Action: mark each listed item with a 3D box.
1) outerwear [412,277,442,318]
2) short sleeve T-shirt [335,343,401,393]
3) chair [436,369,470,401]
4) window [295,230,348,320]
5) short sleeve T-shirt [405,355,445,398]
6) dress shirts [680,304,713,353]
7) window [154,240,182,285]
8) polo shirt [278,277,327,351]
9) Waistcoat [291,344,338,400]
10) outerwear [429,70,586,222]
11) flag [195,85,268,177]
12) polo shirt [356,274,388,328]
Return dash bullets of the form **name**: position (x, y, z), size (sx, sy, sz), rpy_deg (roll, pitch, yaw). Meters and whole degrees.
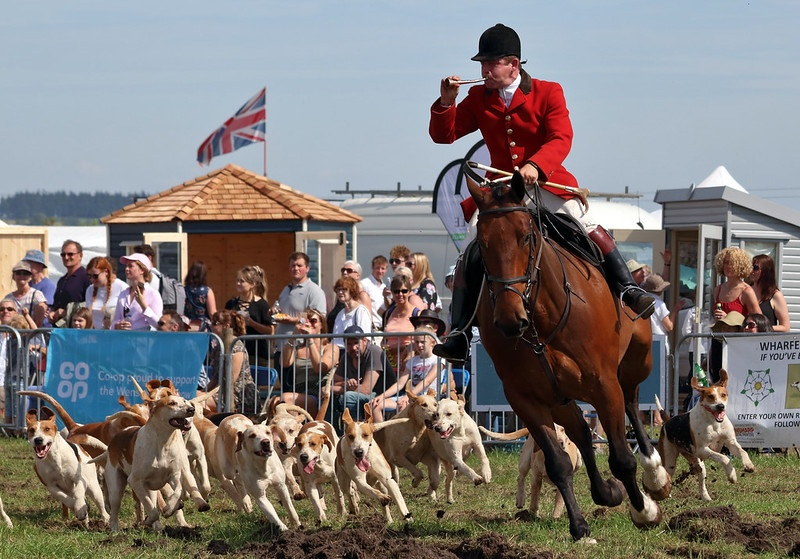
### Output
- **outerwear**: position (0.310, 0.226, 28.141), size (0.338, 0.594, 0.611), rpy_deg (3, -18, 11)
- **short sleeve T-shirt**: position (-0.503, 1.319, 25.640), size (0.643, 0.662, 0.841), rpy_deg (-3, -4, 33)
- **chair**: position (0.818, 1.551, 26.066), size (0.377, 0.682, 0.490), rpy_deg (0, -11, 2)
- **window**: position (-1.778, -0.393, 39.435), size (1.299, 2.545, 1.844), rpy_deg (0, 2, -3)
- **short sleeve T-shirt**: position (0.411, 1.468, 25.579), size (0.676, 0.733, 0.410), rpy_deg (-3, 12, 24)
- **dress shirts**: position (4.792, 0.747, 28.124), size (0.274, 0.800, 0.575), rpy_deg (10, -3, -44)
- **window**: position (-5.407, -0.444, 39.393), size (0.832, 0.127, 1.478), rpy_deg (-2, -43, -13)
- **polo shirt**: position (-1.559, 0.566, 26.619), size (0.914, 1.096, 0.567), rpy_deg (-3, -9, 29)
- **Waistcoat**: position (-1.291, 1.361, 25.459), size (0.699, 0.723, 0.406), rpy_deg (-3, -10, 31)
- **outerwear**: position (1.408, -1.690, 22.430), size (1.675, 1.964, 1.386), rpy_deg (-5, 15, 9)
- **flag**: position (-4.159, -3.330, 41.228), size (1.736, 2.379, 0.218), rpy_deg (-5, 17, -13)
- **polo shirt**: position (-0.482, 0.369, 27.661), size (0.243, 0.730, 0.775), rpy_deg (-6, -5, 31)
